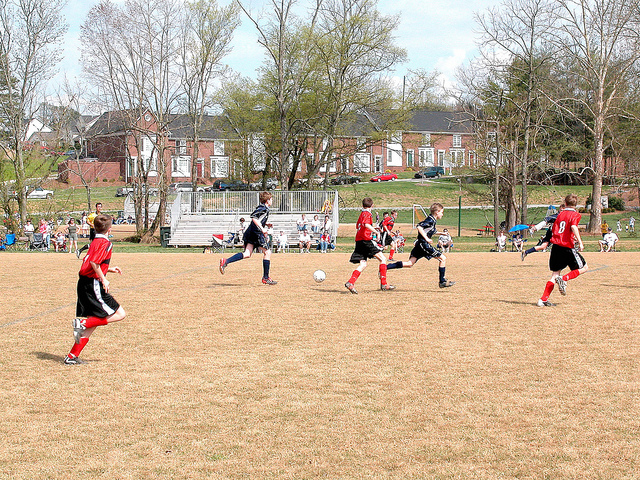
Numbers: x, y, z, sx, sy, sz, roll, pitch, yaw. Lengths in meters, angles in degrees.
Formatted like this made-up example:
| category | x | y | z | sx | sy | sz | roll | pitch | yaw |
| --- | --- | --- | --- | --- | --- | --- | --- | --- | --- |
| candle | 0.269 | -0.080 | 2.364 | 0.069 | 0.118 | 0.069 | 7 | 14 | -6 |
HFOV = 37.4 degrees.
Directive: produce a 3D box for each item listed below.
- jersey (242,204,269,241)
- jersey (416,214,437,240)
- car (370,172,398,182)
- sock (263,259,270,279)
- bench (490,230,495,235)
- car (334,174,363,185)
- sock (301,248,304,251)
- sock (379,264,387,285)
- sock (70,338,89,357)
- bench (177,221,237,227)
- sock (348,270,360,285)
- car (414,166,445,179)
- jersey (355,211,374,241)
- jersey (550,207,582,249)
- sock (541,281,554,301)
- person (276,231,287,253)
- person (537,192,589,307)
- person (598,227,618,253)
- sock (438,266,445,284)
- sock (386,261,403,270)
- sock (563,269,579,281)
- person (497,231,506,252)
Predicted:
| category | x | y | z | sx | sy | sz | roll | pitch | yaw |
| --- | --- | --- | --- | --- | --- | --- | --- | --- | --- |
| jersey | -1.551 | -0.384 | 22.589 | 0.561 | 0.930 | 0.541 | 0 | 13 | -3 |
| jersey | 2.428 | -0.283 | 21.477 | 0.393 | 0.618 | 0.574 | 2 | 13 | 6 |
| car | 5.850 | -5.905 | 88.358 | 2.464 | 0.746 | 1.057 | 0 | 2 | -25 |
| sock | -1.313 | 0.738 | 23.086 | 0.095 | 0.503 | 0.193 | -4 | 14 | -16 |
| bench | 9.867 | -0.400 | 54.287 | 0.332 | 0.366 | 0.061 | 1 | 1 | -3 |
| car | 2.726 | -5.457 | 85.665 | 2.799 | 0.840 | 1.584 | 2 | 4 | -6 |
| sock | -0.768 | 0.445 | 39.651 | 0.127 | 0.115 | 0.067 | 1 | -4 | -10 |
| sock | 1.478 | 0.819 | 22.157 | 0.159 | 0.530 | 0.271 | 2 | 14 | 6 |
| sock | -4.120 | 1.844 | 16.157 | 0.304 | 0.384 | 0.269 | -3 | 14 | -14 |
| bench | -5.268 | -0.708 | 44.022 | 1.877 | 0.261 | 0.179 | 2 | 1 | -15 |
| sock | 0.793 | 0.879 | 21.912 | 0.225 | 0.430 | 0.590 | 1 | 13 | 3 |
| car | 10.763 | -6.692 | 93.498 | 3.081 | 1.032 | 1.314 | 0 | 1 | -24 |
| jersey | 1.016 | -0.323 | 21.859 | 0.460 | 0.719 | 0.763 | 0 | 1 | -14 |
| jersey | 5.083 | -0.240 | 19.704 | 0.545 | 0.848 | 0.368 | 6 | 15 | 22 |
| sock | 4.854 | 1.105 | 20.222 | 0.238 | 0.469 | 0.382 | 4 | 14 | 13 |
| person | -1.656 | 0.144 | 40.039 | 0.407 | 0.913 | 0.593 | -1 | 13 | -4 |
| person | 5.089 | 0.289 | 19.773 | 0.851 | 2.495 | 0.640 | 7 | 15 | 26 |
| person | 11.571 | 0.010 | 37.573 | 0.690 | 0.313 | 1.323 | 4 | 39 | 40 |
| sock | 2.848 | 0.841 | 22.101 | 0.108 | 0.410 | 0.209 | 4 | 14 | 13 |
| sock | 1.676 | 0.617 | 21.842 | 0.127 | 0.157 | 0.505 | 15 | -15 | -29 |
| sock | 5.258 | 0.744 | 19.856 | 0.315 | 0.250 | 0.434 | 4 | 13 | 13 |
| person | 7.490 | 0.206 | 39.256 | 0.299 | 0.697 | 0.992 | 3 | 13 | 10 |
